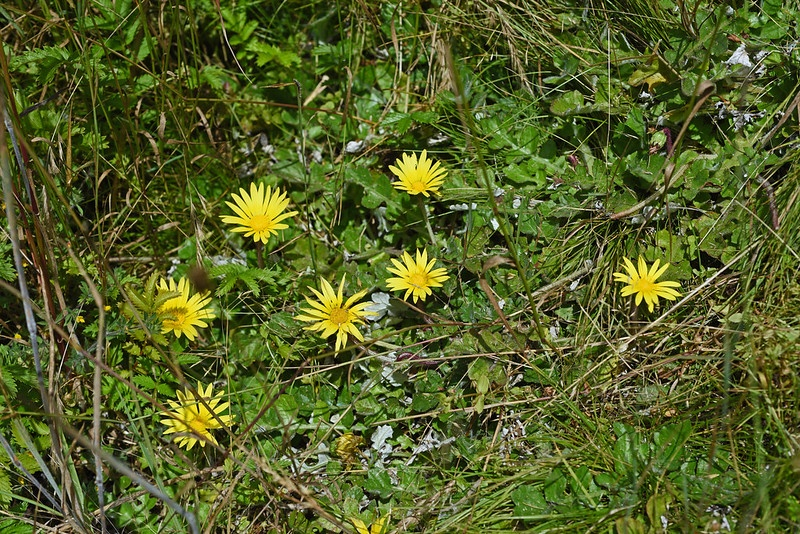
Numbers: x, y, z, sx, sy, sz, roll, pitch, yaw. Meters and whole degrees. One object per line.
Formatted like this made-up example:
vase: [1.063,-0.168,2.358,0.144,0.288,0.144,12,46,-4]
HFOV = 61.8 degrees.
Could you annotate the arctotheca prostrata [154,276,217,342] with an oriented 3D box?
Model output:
arctotheca prostrata: [-0.944,0.187,2.889,0.245,0.124,0.294,12,64,-21]

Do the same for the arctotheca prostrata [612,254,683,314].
arctotheca prostrata: [1.019,0.068,2.789,0.285,0.063,0.309,-16,47,-19]

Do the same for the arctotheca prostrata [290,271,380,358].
arctotheca prostrata: [-0.276,0.197,2.804,0.319,0.110,0.344,18,42,17]

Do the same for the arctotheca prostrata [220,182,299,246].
arctotheca prostrata: [-0.625,-0.270,3.008,0.344,0.360,0.153,-6,83,-4]

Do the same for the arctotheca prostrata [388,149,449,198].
arctotheca prostrata: [0.079,-0.398,3.011,0.252,0.271,0.128,2,71,9]

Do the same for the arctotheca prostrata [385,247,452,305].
arctotheca prostrata: [0.075,0.041,2.838,0.268,0.096,0.299,18,16,34]

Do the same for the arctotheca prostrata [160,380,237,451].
arctotheca prostrata: [-0.866,0.606,2.767,0.280,0.332,0.096,-27,102,14]
